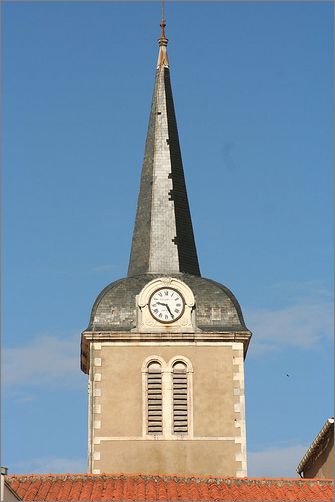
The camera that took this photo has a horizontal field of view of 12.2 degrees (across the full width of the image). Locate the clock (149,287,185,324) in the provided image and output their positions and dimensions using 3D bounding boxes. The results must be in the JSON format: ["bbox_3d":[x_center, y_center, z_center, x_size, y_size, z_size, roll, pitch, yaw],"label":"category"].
[{"bbox_3d":[0.033,1.621,44.895,0.942,0.132,1.208,-2,-53,-3],"label":"clock"}]
